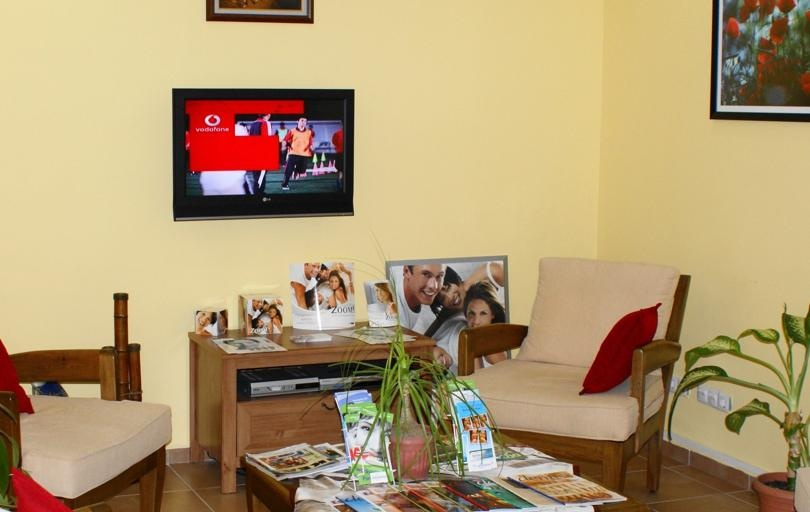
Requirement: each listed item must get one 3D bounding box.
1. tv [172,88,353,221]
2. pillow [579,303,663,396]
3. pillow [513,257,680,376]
[{"bbox_3d":[-0.985,-0.677,3.936,0.951,0.635,0.096,0,0,-17],"label":"tv"},{"bbox_3d":[1.225,0.536,3.377,0.563,0.430,0.202,-8,10,-37],"label":"pillow"},{"bbox_3d":[1.280,0.319,4.029,1.306,0.898,0.627,0,0,30],"label":"pillow"}]
